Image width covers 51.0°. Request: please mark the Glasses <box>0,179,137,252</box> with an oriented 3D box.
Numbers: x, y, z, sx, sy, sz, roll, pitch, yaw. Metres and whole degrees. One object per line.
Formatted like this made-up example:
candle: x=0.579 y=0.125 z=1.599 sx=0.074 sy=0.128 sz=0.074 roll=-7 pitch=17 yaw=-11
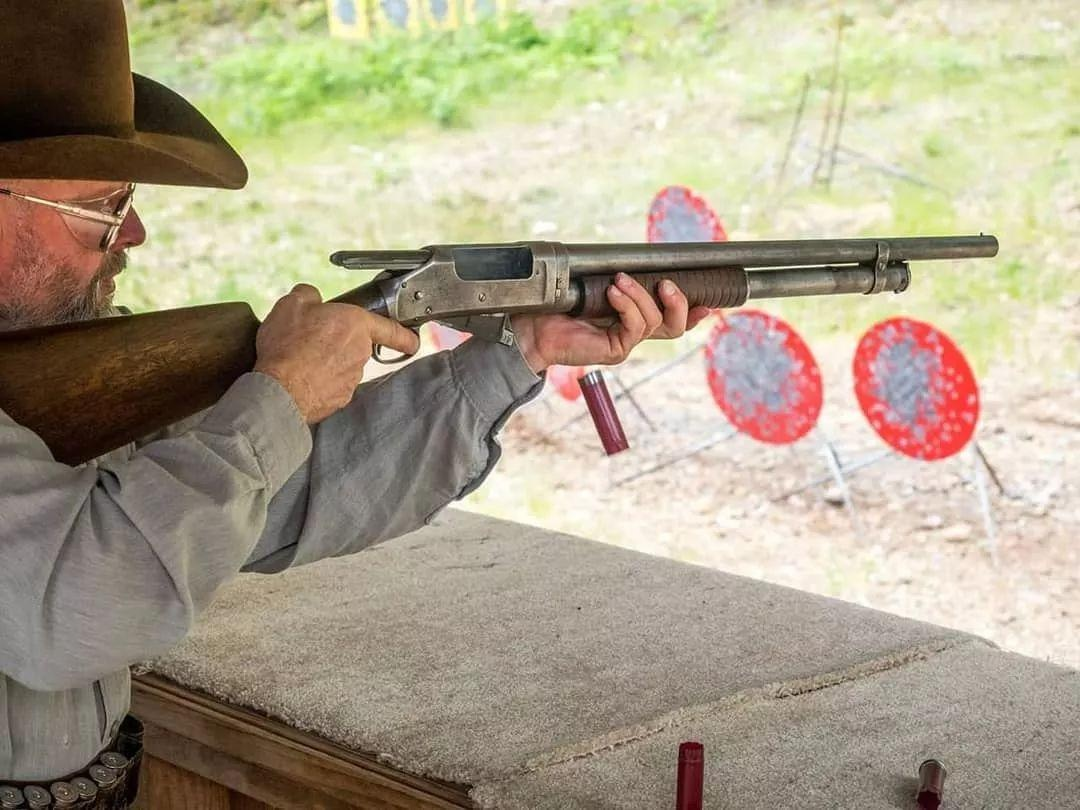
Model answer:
Glasses: x=-0.847 y=-0.338 z=2.036 sx=0.173 sy=0.057 sz=0.111 roll=10 pitch=8 yaw=-7
